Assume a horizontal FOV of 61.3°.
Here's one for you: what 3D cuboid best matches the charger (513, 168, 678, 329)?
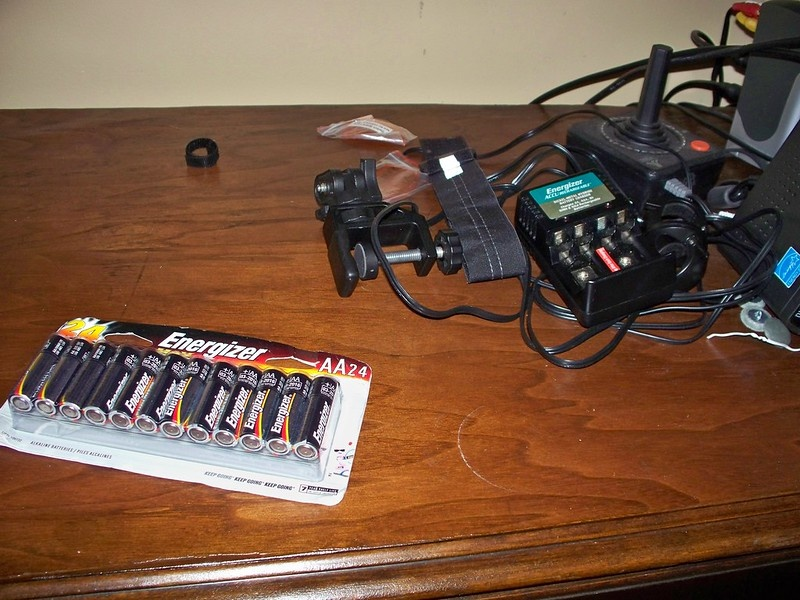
[{"bbox_3d":[0.246,-0.063,0.938,0.188,0.102,0.205,-23,61,-8],"label":"charger"}]

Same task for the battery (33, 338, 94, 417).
[{"bbox_3d":[-0.376,0.088,0.757,0.034,0.030,0.098,38,45,-1],"label":"battery"}]

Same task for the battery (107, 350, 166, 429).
[{"bbox_3d":[-0.290,0.100,0.755,0.034,0.032,0.098,40,40,-8],"label":"battery"}]

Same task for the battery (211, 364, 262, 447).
[{"bbox_3d":[-0.180,0.116,0.751,0.033,0.027,0.092,35,43,-7],"label":"battery"}]
